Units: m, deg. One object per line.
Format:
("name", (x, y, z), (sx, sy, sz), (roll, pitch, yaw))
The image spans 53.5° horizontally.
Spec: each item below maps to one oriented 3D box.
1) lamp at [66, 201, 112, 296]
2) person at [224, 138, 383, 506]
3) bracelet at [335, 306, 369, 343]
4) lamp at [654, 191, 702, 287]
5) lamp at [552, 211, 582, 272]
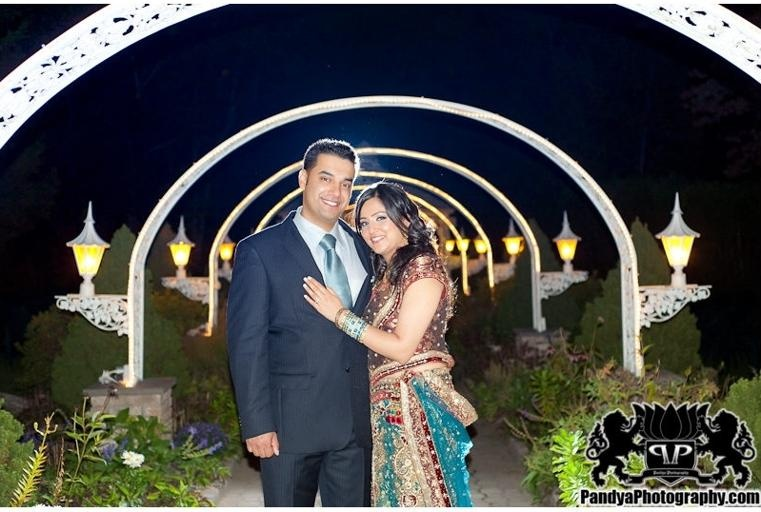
("lamp", (-4.690, -0.103, 12.047), (0.630, 1.626, 0.984), (3, -12, -15))
("person", (-0.893, 0.770, 8.667), (1.560, 4.096, 0.736), (0, -12, -1))
("bracelet", (-0.328, 0.780, 8.528), (0.377, 0.368, 0.187), (0, -12, -4))
("lamp", (4.646, -0.229, 11.793), (0.571, 1.503, 0.437), (-5, -13, 20))
("lamp", (4.010, -0.327, 16.184), (0.549, 1.500, 0.876), (-4, -12, 15))
